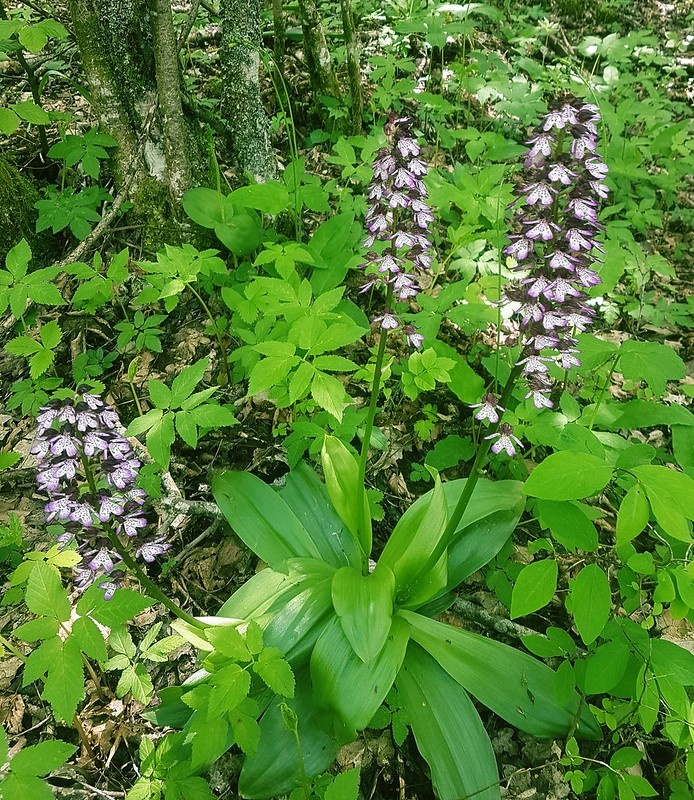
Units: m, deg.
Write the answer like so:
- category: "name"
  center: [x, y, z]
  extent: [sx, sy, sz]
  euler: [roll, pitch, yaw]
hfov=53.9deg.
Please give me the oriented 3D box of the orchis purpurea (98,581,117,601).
- category: "orchis purpurea"
  center: [-1.007, 0.797, 2.896]
  extent: [0.073, 0.078, 0.024]
  euler: [-23, 2, -2]

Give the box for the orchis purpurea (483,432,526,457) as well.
- category: "orchis purpurea"
  center: [0.751, 0.209, 3.246]
  extent: [0.160, 0.149, 0.065]
  euler: [17, 22, 1]
